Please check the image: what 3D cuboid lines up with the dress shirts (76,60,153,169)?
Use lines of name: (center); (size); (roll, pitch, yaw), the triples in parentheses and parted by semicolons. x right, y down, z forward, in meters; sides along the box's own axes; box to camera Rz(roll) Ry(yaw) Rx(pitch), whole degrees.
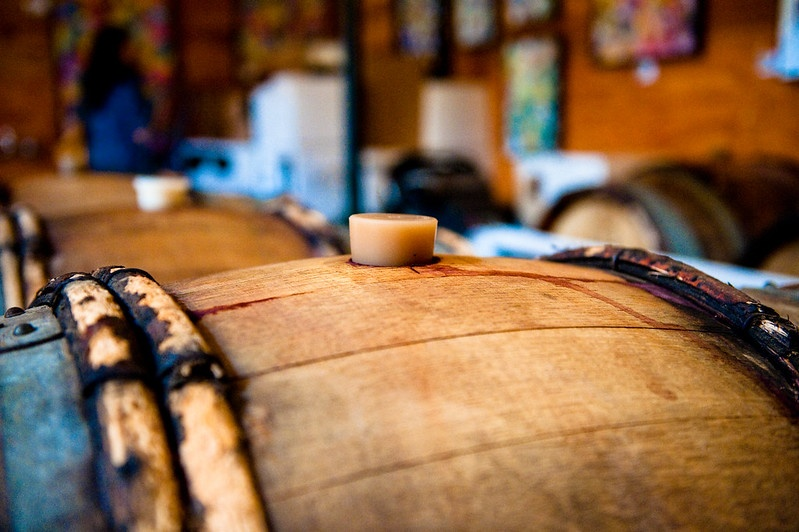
dress shirts: (-1.377, -0.695, 3.184); (0.241, 0.462, 0.675); (-3, 11, -9)
